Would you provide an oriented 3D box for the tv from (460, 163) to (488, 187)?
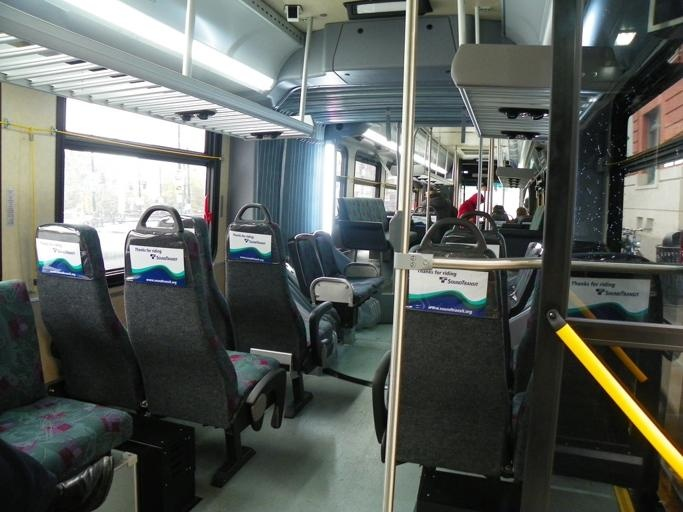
[{"bbox_3d":[4.855,-3.114,19.306,0.617,0.905,1.979,3,10,13],"label":"tv"}]
